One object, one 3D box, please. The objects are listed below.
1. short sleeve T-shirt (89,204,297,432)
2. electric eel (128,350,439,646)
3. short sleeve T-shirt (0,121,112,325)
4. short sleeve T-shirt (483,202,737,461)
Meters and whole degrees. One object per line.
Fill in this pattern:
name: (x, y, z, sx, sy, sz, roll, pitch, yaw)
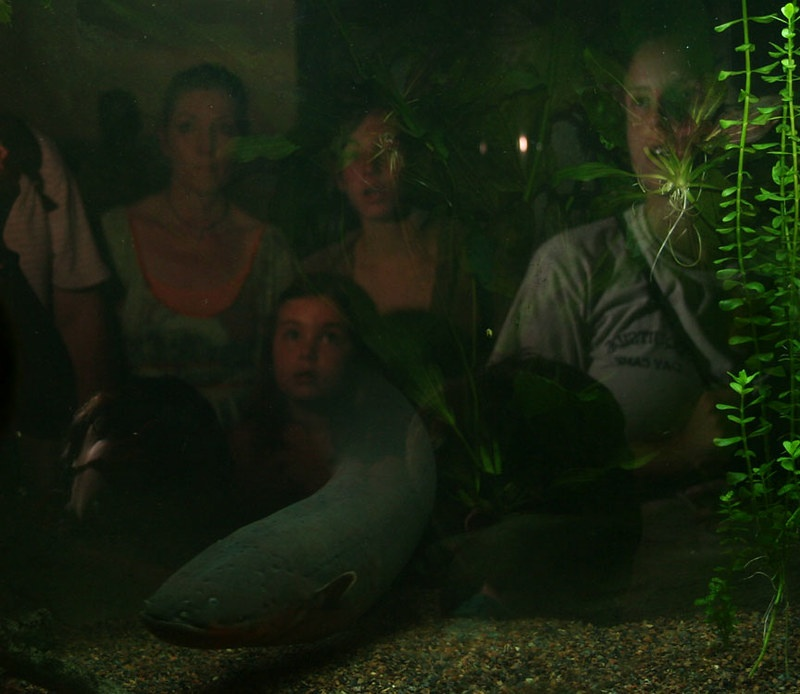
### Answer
short sleeve T-shirt: (-0.924, -0.139, 4.078, 1.009, 0.910, 0.502, 2, 8, -8)
electric eel: (-0.420, 0.723, 3.946, 1.289, 1.034, 0.334, -18, 19, -34)
short sleeve T-shirt: (-1.463, -0.489, 4.223, 0.463, 0.716, 0.173, -29, 9, 2)
short sleeve T-shirt: (0.889, -0.110, 4.232, 1.029, 0.757, 0.465, 19, 3, -15)
